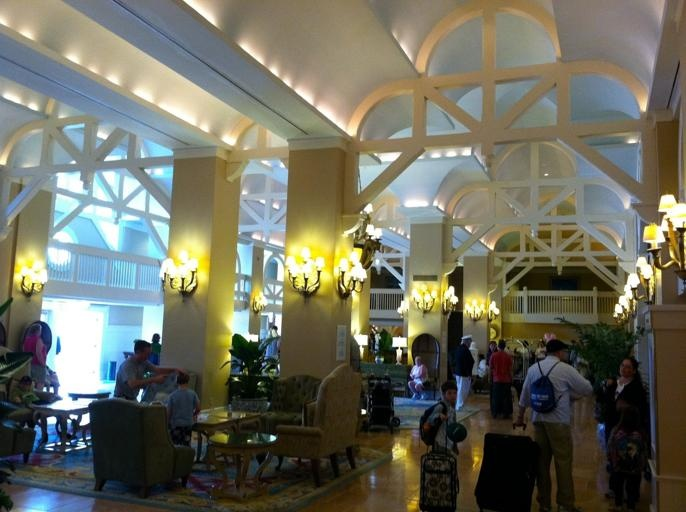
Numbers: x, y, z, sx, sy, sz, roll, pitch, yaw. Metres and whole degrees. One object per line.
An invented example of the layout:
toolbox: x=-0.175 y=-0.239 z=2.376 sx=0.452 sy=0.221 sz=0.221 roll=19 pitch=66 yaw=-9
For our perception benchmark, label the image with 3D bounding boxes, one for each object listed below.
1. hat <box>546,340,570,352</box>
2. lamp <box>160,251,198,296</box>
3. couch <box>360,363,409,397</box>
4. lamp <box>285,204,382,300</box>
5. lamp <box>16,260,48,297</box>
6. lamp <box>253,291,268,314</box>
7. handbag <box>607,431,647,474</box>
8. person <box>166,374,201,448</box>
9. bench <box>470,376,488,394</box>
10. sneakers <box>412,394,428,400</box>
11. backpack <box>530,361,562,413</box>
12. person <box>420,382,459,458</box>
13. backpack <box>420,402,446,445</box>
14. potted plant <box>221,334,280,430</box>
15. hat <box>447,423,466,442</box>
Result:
hat: x=2.365 y=0.985 z=5.870 sx=0.203 sy=0.111 sz=0.147 roll=-18 pitch=14 yaw=-28
lamp: x=-2.833 y=0.304 z=9.316 sx=0.746 sy=0.941 sz=0.467 roll=-3 pitch=-13 yaw=16
couch: x=1.076 y=3.238 z=13.536 sx=1.125 sy=0.950 sz=3.179 roll=1 pitch=-6 yaw=8
lamp: x=-0.101 y=-0.082 z=8.913 sx=1.596 sy=1.567 sz=0.587 roll=5 pitch=-6 yaw=-26
lamp: x=-6.345 y=0.448 z=10.842 sx=0.315 sy=1.040 sz=0.643 roll=-6 pitch=-7 yaw=30
lamp: x=-2.623 y=1.461 z=16.870 sx=0.278 sy=0.996 sz=0.796 roll=-2 pitch=-4 yaw=20
handbag: x=3.000 y=2.072 z=5.654 sx=0.342 sy=0.461 sz=0.204 roll=-1 pitch=-6 yaw=28
person: x=-2.029 y=2.002 z=6.782 sx=0.358 sy=1.091 sz=0.302 roll=0 pitch=9 yaw=-22
bench: x=4.197 y=3.944 z=16.297 sx=0.504 sy=0.531 sz=0.524 roll=1 pitch=0 yaw=28
sneakers: x=2.041 y=3.723 z=14.136 sx=0.422 sy=0.193 sz=0.148 roll=-5 pitch=3 yaw=0
backpack: x=2.148 y=1.406 z=5.697 sx=0.287 sy=0.540 sz=0.225 roll=0 pitch=-6 yaw=24
person: x=1.061 y=1.801 z=5.900 sx=0.393 sy=0.761 sz=0.368 roll=14 pitch=-16 yaw=-38
backpack: x=0.973 y=1.824 z=5.785 sx=0.281 sy=0.487 sz=0.262 roll=3 pitch=-6 yaw=-7
potted plant: x=-1.561 y=2.001 z=8.837 sx=1.273 sy=1.873 sz=1.256 roll=2 pitch=-11 yaw=-13
hat: x=1.132 y=1.769 z=5.339 sx=0.170 sy=0.188 sz=0.236 roll=1 pitch=-6 yaw=11
